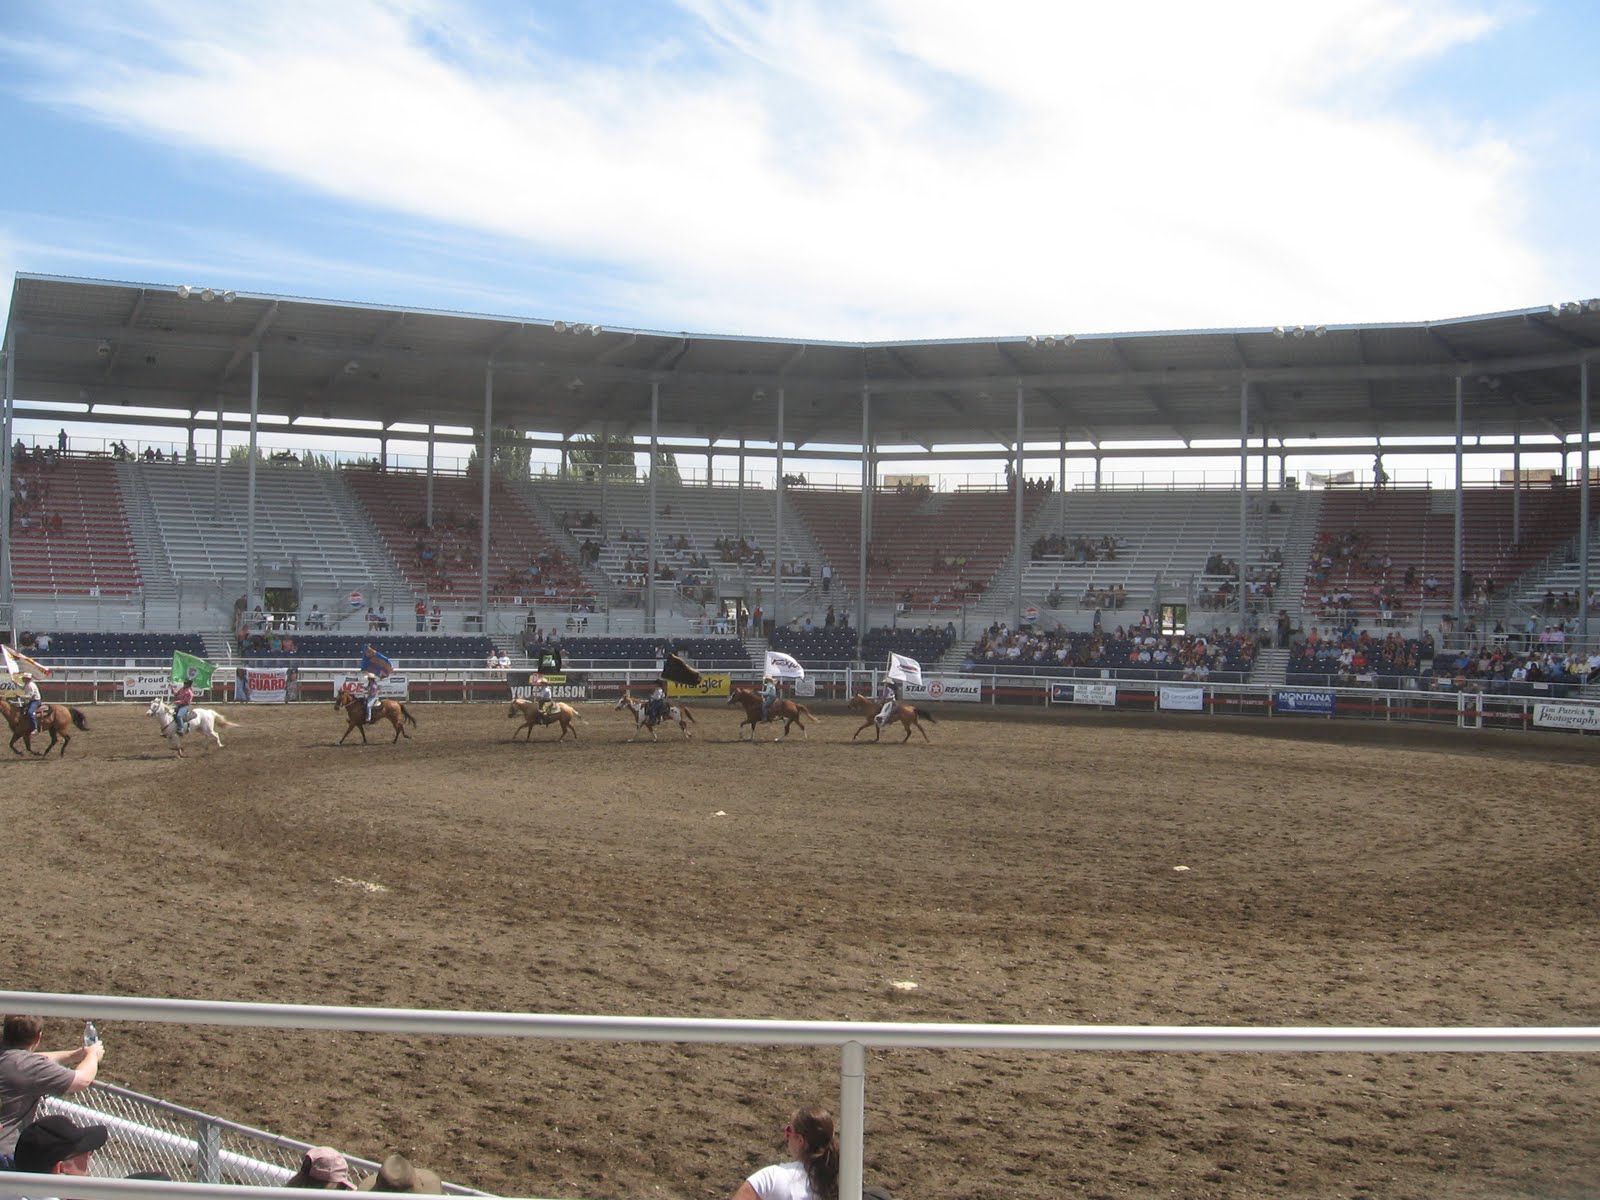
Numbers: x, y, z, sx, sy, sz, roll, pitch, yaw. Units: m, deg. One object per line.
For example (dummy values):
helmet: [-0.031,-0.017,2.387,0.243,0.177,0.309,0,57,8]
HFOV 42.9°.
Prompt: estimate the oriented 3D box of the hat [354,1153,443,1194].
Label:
hat: [-3.867,5.782,20.277,0.589,0.142,0.570,6,-14,26]

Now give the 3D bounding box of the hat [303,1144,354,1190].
hat: [-4.765,5.658,20.423,0.414,0.165,0.503,16,1,-25]

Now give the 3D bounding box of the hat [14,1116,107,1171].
hat: [-7.640,5.589,20.876,0.687,0.198,0.697,-5,-5,28]
